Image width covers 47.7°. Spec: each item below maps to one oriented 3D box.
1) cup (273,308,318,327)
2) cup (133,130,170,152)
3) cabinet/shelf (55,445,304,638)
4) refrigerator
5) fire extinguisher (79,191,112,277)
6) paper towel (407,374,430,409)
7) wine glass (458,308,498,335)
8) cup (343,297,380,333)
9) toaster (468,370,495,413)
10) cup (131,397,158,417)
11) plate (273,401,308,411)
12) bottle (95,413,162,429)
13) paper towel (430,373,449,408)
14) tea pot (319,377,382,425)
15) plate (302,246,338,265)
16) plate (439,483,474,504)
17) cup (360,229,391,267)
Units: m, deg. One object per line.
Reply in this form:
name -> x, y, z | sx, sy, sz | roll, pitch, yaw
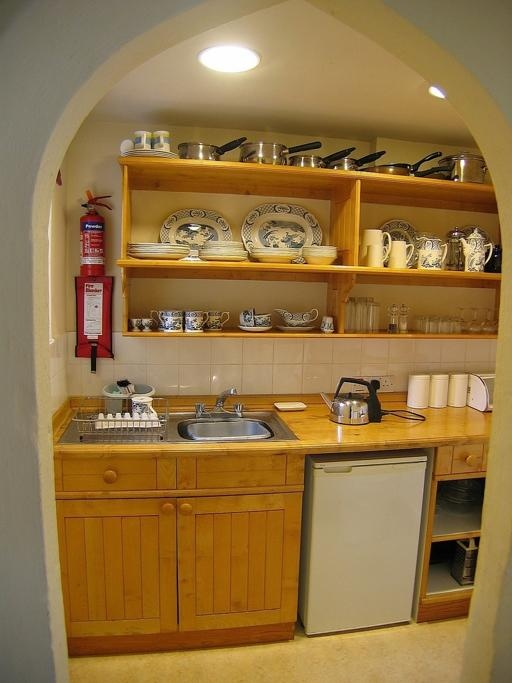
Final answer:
cup -> 0.181, -0.100, 2.558 | 0.174, 0.068, 0.089 | 3, -3, -3
cup -> -0.398, -0.765, 2.212 | 0.139, 0.085, 0.077 | 1, 2, -9
cabinet/shelf -> -0.338, 0.786, 2.196 | 0.938, 0.646, 0.349 | 7, -18, -27
refrigerator -> 0.403, 0.784, 2.261 | 0.461, 0.702, 0.124 | 0, 9, -15
fire extinguisher -> -0.677, -0.449, 2.451 | 0.132, 0.355, 0.142 | 0, 9, -16
paper towel -> 0.757, 0.232, 2.699 | 0.101, 0.161, 0.068 | 5, 9, 15
wine glass -> 1.100, -0.090, 2.898 | 0.167, 0.098, 0.162 | -2, -1, -35
cup -> 0.473, -0.118, 2.640 | 0.179, 0.158, 0.088 | 1, -2, -4
toaster -> 1.049, 0.236, 2.730 | 0.101, 0.162, 0.243 | 5, 9, 17
cup -> -0.439, 0.258, 2.275 | 0.106, 0.092, 0.063 | 2, 3, -2
plate -> 0.155, 0.294, 2.638 | 0.146, 0.023, 0.130 | 2, 8, -1
bottle -> -0.484, 0.303, 2.209 | 0.248, 0.056, 0.183 | 0, 8, -11
paper towel -> 0.865, 0.230, 2.723 | 0.114, 0.161, 0.041 | -3, 10, -29
tea pot -> 0.424, 0.244, 2.502 | 0.264, 0.193, 0.178 | 3, 6, 16
plate -> 0.277, -0.356, 2.446 | 0.104, 0.049, 0.093 | 0, 1, 38
plate -> 0.901, 0.665, 2.578 | 0.112, 0.036, 0.093 | -5, 18, -16
cup -> 0.539, -0.408, 2.578 | 0.124, 0.156, 0.338 | 6, 9, 21
